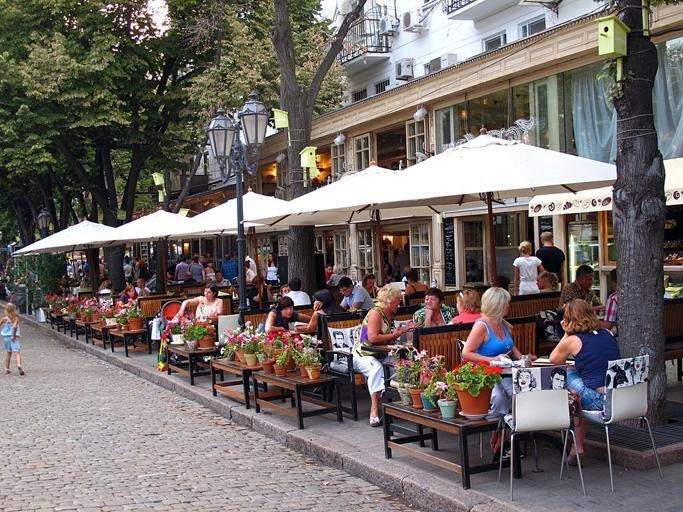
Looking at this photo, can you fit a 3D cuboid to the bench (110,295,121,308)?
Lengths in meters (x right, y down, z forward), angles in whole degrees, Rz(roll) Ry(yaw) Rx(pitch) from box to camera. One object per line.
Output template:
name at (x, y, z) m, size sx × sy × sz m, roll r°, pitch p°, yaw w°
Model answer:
bench at (-6.238, 1.260, 21.071) m, size 0.270 × 0.279 × 0.151 m, roll 0°, pitch -5°, yaw -4°

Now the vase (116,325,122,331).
vase at (-5.504, 1.792, 18.962) m, size 0.135 × 0.109 × 0.142 m, roll -1°, pitch -8°, yaw 2°

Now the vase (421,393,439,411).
vase at (1.040, 1.732, 8.964) m, size 0.197 × 0.165 × 0.207 m, roll 0°, pitch -2°, yaw 10°

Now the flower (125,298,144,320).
flower at (-5.093, 1.305, 18.690) m, size 0.442 × 0.488 × 0.535 m, roll 2°, pitch -7°, yaw -9°

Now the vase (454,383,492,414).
vase at (1.484, 1.637, 8.619) m, size 0.337 × 0.271 × 0.351 m, roll 0°, pitch -4°, yaw -5°

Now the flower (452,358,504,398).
flower at (1.490, 1.338, 8.479) m, size 0.413 × 0.314 × 0.404 m, roll -2°, pitch -1°, yaw -39°

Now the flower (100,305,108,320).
flower at (-6.220, 1.500, 20.039) m, size 0.321 × 0.382 × 0.299 m, roll 1°, pitch -2°, yaw -11°

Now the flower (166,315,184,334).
flower at (-3.233, 1.386, 14.923) m, size 0.231 × 0.383 × 0.709 m, roll -7°, pitch 6°, yaw -29°

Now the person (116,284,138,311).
person at (-5.797, 1.134, 20.650) m, size 0.497 × 1.112 × 0.598 m, roll 4°, pitch -7°, yaw -30°

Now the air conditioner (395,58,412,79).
air conditioner at (2.474, -7.488, 30.146) m, size 0.469 × 0.877 × 0.908 m, roll 4°, pitch -11°, yaw -14°

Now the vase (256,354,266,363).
vase at (-1.256, 1.610, 11.931) m, size 0.143 × 0.157 × 0.148 m, roll 0°, pitch -3°, yaw -6°

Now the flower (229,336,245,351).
flower at (-1.717, 1.448, 12.555) m, size 0.233 × 0.255 × 0.243 m, roll 2°, pitch -13°, yaw -11°

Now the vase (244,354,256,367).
vase at (-1.462, 1.683, 12.291) m, size 0.175 × 0.147 × 0.183 m, roll -1°, pitch -8°, yaw 1°

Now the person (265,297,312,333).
person at (-0.896, 1.013, 12.699) m, size 0.629 × 0.993 × 0.505 m, roll 0°, pitch -1°, yaw -33°

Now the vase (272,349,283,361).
vase at (-1.002, 1.521, 11.732) m, size 0.161 × 0.131 × 0.165 m, roll -7°, pitch -8°, yaw 40°

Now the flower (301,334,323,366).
flower at (-0.465, 1.423, 11.472) m, size 0.351 × 0.284 × 0.382 m, roll 1°, pitch -1°, yaw -3°

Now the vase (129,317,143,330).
vase at (-4.961, 1.630, 18.428) m, size 0.292 × 0.236 × 0.301 m, roll 1°, pitch -5°, yaw -16°

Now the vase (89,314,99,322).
vase at (-6.697, 1.696, 20.805) m, size 0.299 × 0.245 × 0.317 m, roll 0°, pitch -9°, yaw -2°

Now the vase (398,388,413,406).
vase at (0.773, 1.747, 9.412) m, size 0.182 × 0.172 × 0.187 m, roll 1°, pitch -8°, yaw -17°

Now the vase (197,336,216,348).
vase at (-2.522, 1.627, 14.376) m, size 0.227 × 0.152 × 0.233 m, roll -4°, pitch -3°, yaw 41°

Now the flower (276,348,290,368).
flower at (-0.867, 1.545, 11.541) m, size 0.238 × 0.287 × 0.275 m, roll 4°, pitch -10°, yaw -9°

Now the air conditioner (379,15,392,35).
air conditioner at (1.810, -9.415, 30.775) m, size 0.360 × 0.818 × 0.589 m, roll -6°, pitch 6°, yaw -18°

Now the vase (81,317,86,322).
vase at (-7.340, 1.800, 21.759) m, size 0.146 × 0.118 × 0.152 m, roll -5°, pitch -10°, yaw 28°

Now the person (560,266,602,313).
person at (3.994, 0.707, 12.577) m, size 0.680 × 1.090 × 0.587 m, roll -2°, pitch 13°, yaw 3°

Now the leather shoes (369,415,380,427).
leather shoes at (0.479, 2.355, 10.866) m, size 0.169 × 0.147 × 0.116 m, roll -3°, pitch 6°, yaw 14°

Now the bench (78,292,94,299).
bench at (-8.368, 1.275, 25.056) m, size 0.369 × 0.292 × 0.383 m, roll 0°, pitch -8°, yaw -6°

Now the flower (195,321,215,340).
flower at (-2.553, 1.403, 14.458) m, size 0.366 × 0.339 × 0.341 m, roll -6°, pitch 6°, yaw -18°

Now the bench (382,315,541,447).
bench at (1.488, 1.548, 9.183) m, size 1.662 × 1.138 × 0.547 m, roll -2°, pitch 2°, yaw -34°

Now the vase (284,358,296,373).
vase at (-0.772, 1.692, 11.765) m, size 0.188 × 0.158 × 0.196 m, roll -2°, pitch -2°, yaw 27°

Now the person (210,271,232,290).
person at (-3.670, 0.734, 23.242) m, size 0.396 × 0.897 × 0.258 m, roll -4°, pitch -8°, yaw -9°

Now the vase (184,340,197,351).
vase at (-2.820, 1.678, 14.328) m, size 0.159 × 0.130 × 0.168 m, roll 0°, pitch -1°, yaw 17°
